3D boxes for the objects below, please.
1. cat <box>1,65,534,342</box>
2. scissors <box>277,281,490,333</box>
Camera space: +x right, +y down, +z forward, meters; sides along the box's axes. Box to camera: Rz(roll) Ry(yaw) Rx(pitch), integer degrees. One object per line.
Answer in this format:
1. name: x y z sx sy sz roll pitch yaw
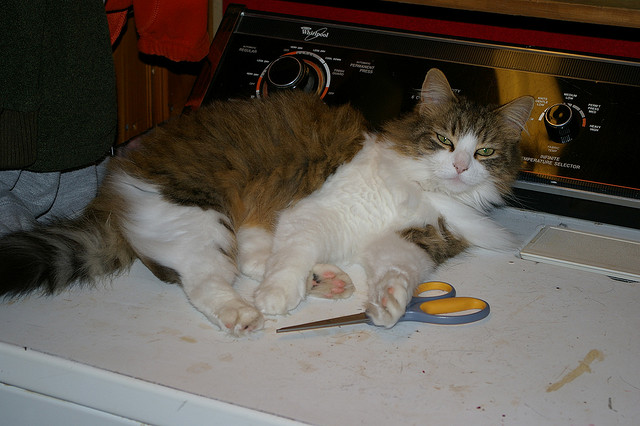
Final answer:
1. cat: -0.057 -0.029 1.577 1.316 0.618 0.722 -1 8 -14
2. scissors: 0.194 0.225 1.261 0.314 0.025 0.182 -7 17 -8
